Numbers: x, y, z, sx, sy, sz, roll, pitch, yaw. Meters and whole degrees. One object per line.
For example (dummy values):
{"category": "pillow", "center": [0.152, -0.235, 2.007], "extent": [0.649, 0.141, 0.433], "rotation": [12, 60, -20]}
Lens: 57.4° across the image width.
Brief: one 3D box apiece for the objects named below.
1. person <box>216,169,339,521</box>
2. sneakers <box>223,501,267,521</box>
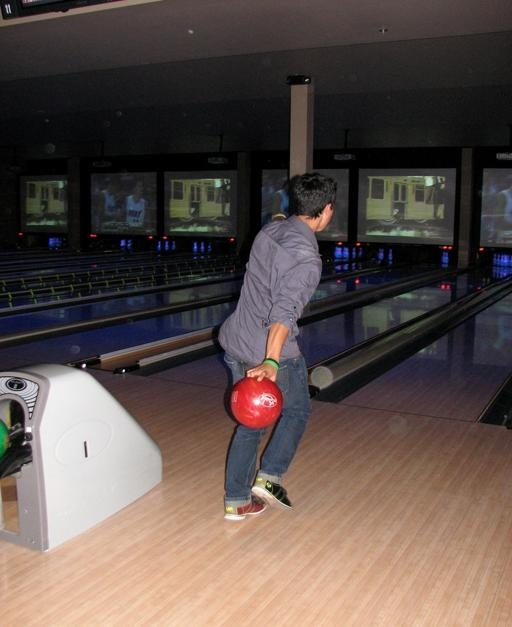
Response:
{"category": "person", "center": [0.053, 0.067, 1.160], "extent": [0.290, 0.901, 0.377], "rotation": [0, 4, -4]}
{"category": "sneakers", "center": [-0.028, 0.491, 1.209], "extent": [0.041, 0.041, 0.115], "rotation": [6, 6, 38]}
